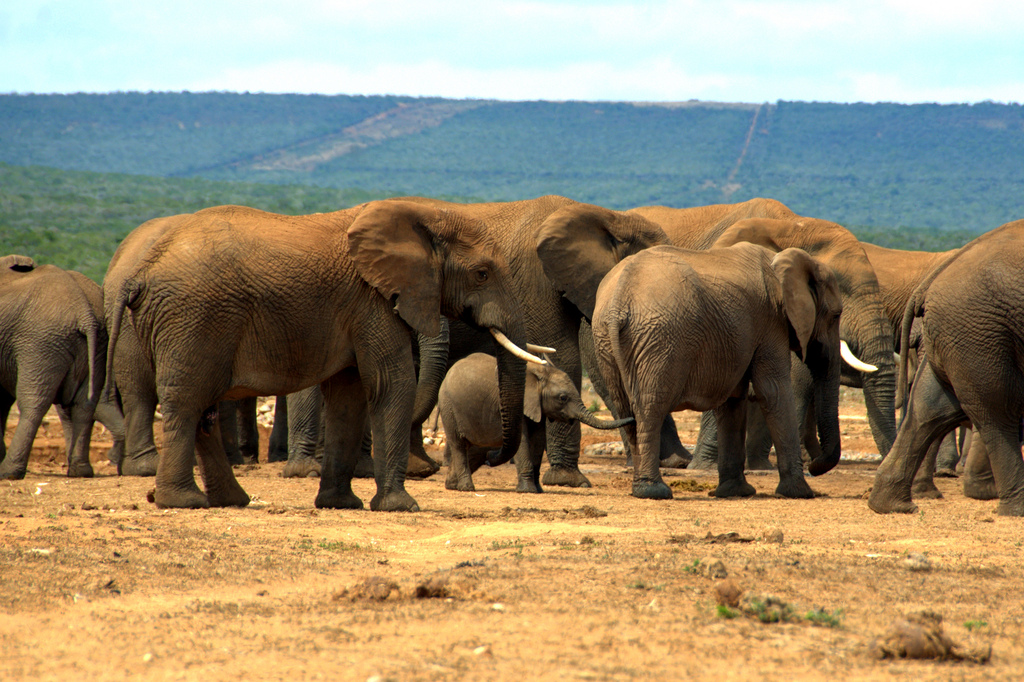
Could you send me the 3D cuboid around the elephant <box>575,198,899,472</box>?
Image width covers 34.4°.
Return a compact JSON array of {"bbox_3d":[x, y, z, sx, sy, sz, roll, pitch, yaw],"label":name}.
[{"bbox_3d":[4.216,-0.207,22.027,5.167,3.188,2.491,-3,3,-37],"label":"elephant"}]
